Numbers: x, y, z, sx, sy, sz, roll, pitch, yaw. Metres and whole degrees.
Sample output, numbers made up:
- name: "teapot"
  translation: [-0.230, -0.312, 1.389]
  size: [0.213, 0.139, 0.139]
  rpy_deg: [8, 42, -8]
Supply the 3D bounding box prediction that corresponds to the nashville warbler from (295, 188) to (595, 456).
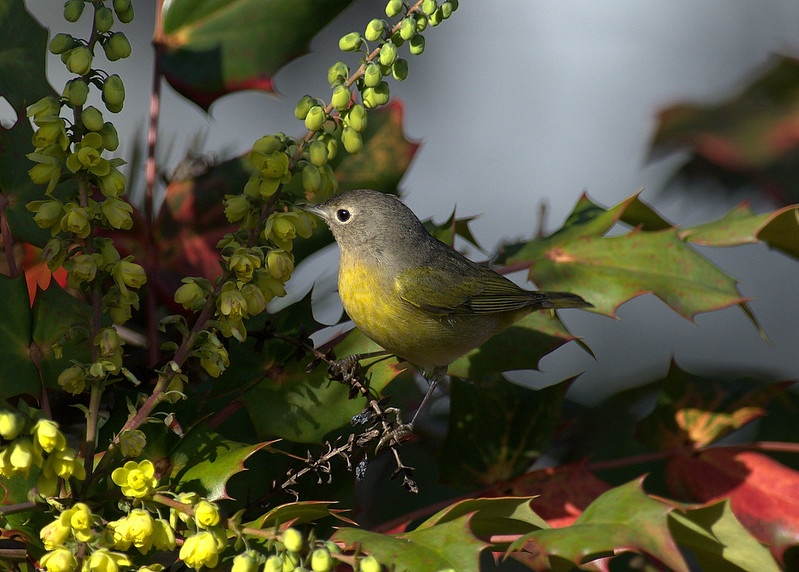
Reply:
- name: "nashville warbler"
  translation: [0.121, 0.050, 1.827]
  size: [0.562, 0.426, 0.253]
  rpy_deg: [2, 5, -16]
